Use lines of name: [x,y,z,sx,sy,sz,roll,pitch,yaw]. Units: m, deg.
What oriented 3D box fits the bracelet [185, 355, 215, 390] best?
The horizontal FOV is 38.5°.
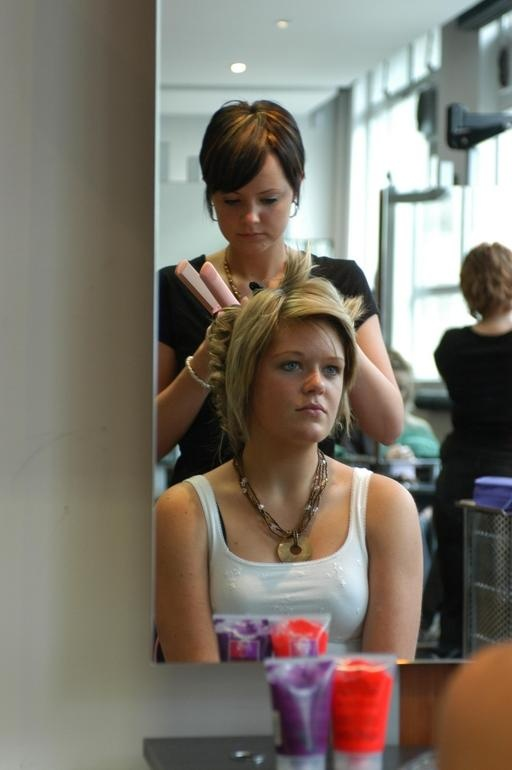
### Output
bracelet: [-0.061,-0.008,0.738,0.027,0.032,0.009,-44,3,-40]
